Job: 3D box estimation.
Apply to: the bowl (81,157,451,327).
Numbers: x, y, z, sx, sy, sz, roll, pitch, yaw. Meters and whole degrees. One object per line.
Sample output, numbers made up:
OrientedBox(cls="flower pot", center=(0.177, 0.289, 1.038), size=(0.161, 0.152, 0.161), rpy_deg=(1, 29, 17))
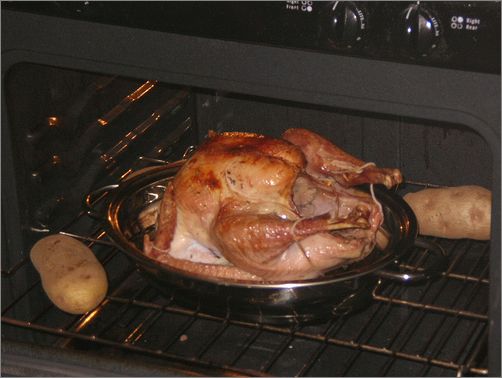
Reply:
OrientedBox(cls="bowl", center=(0.086, 0.286, 1.598), size=(0.625, 0.124, 0.425), rpy_deg=(8, 32, 14))

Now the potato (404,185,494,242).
OrientedBox(cls="potato", center=(0.541, 0.060, 1.693), size=(0.101, 0.116, 0.260), rpy_deg=(-12, 10, -39))

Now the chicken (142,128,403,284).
OrientedBox(cls="chicken", center=(0.048, 0.012, 1.565), size=(0.436, 0.412, 0.611), rpy_deg=(3, 17, 17))
